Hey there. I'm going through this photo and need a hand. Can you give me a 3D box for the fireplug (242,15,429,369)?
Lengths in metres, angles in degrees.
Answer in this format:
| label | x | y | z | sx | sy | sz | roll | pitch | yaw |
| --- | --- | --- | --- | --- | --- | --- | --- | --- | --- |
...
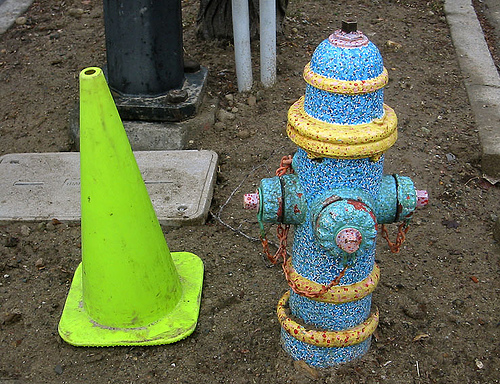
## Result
| label | x | y | z | sx | sy | sz | roll | pitch | yaw |
| --- | --- | --- | --- | --- | --- | --- | --- | --- | --- |
| fireplug | 0.564 | 0.115 | 4.452 | 1.158 | 2.281 | 1.078 | 8 | 25 | 16 |
